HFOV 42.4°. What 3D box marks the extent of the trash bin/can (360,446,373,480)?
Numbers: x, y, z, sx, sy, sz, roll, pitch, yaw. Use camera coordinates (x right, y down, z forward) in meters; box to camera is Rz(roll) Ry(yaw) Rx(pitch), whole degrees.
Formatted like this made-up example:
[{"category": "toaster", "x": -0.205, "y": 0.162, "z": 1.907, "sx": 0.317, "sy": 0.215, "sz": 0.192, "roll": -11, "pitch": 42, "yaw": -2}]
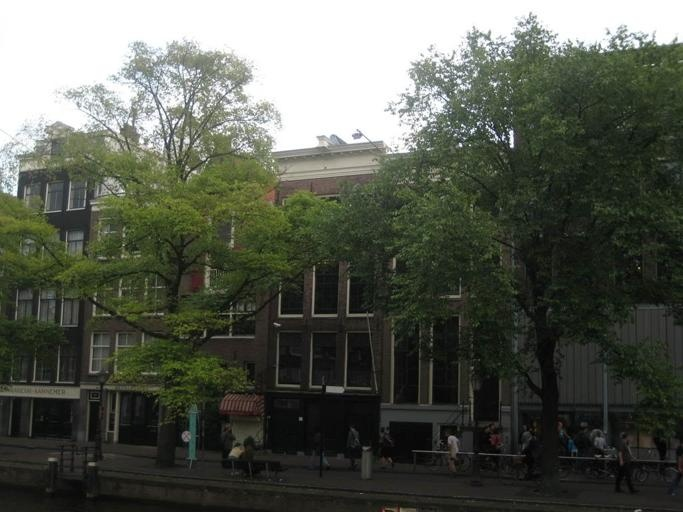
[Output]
[{"category": "trash bin/can", "x": 1.127, "y": 9.184, "z": 39.008, "sx": 0.428, "sy": 1.378, "sz": 0.384, "roll": 1, "pitch": -13, "yaw": -11}]
